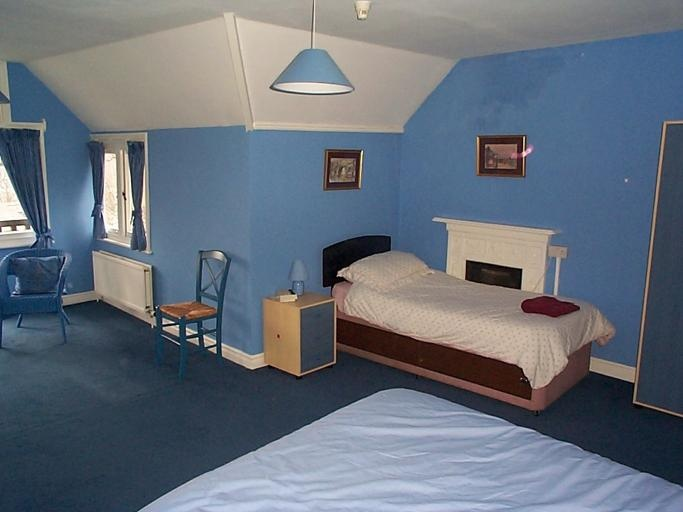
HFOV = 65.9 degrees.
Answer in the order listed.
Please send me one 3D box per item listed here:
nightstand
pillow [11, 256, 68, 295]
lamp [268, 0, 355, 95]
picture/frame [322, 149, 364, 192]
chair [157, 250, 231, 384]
[{"bbox_3d":[-0.411,0.736,5.670,0.779,1.047,0.747,-9,14,-39],"label":"nightstand"},{"bbox_3d":[-3.572,0.223,6.230,0.436,0.334,0.084,2,-15,-17],"label":"pillow"},{"bbox_3d":[-0.203,-1.512,3.756,0.519,0.695,0.876,0,10,-5],"label":"lamp"},{"bbox_3d":[0.023,-0.993,6.082,0.595,0.462,0.034,-9,14,-42],"label":"picture/frame"},{"bbox_3d":[-1.656,0.518,5.737,0.737,1.188,1.059,-7,12,-34],"label":"chair"}]
